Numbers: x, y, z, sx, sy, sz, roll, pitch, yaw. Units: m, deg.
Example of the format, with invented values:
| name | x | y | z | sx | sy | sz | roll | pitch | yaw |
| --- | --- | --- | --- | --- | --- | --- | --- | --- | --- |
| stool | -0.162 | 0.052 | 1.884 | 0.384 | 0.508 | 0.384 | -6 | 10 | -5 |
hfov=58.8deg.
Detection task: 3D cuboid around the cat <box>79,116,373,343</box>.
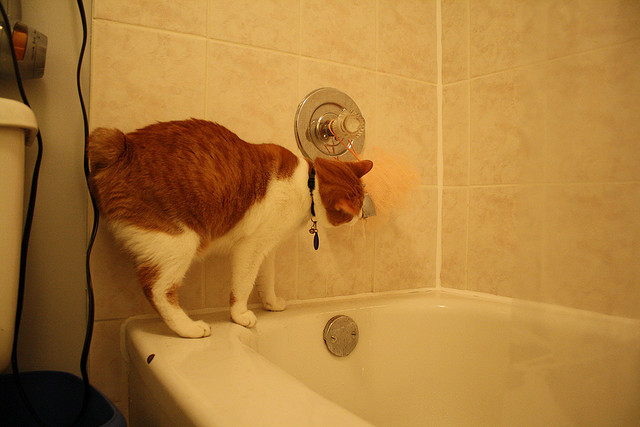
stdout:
| name | x | y | z | sx | sy | sz | roll | pitch | yaw |
| --- | --- | --- | --- | --- | --- | --- | --- | --- | --- |
| cat | -0.228 | 0.036 | 1.582 | 0.697 | 0.577 | 0.298 | 2 | 19 | -25 |
